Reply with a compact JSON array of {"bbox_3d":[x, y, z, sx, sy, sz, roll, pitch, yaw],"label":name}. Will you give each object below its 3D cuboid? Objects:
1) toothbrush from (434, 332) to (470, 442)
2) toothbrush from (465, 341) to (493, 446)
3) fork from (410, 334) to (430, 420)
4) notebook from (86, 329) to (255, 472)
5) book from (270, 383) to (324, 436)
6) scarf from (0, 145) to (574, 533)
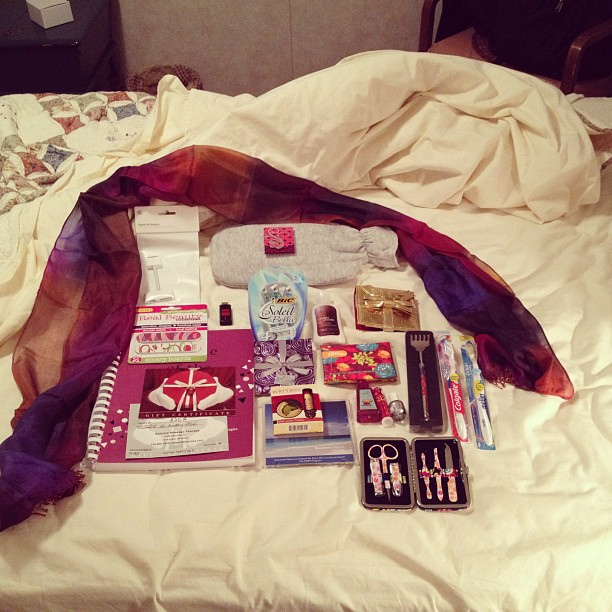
[{"bbox_3d":[0.358,0.195,1.425,0.042,0.011,0.228,-4,55,-1],"label":"toothbrush"},{"bbox_3d":[0.414,0.213,1.430,0.032,0.022,0.196,7,50,-22],"label":"toothbrush"},{"bbox_3d":[0.284,0.163,1.422,0.047,0.015,0.183,2,49,6],"label":"fork"},{"bbox_3d":[-0.316,0.212,1.416,0.377,0.073,0.388,-2,57,-3],"label":"notebook"},{"bbox_3d":[-0.023,0.243,1.372,0.112,0.017,0.123,-3,57,-4],"label":"book"},{"bbox_3d":[-0.155,-0.074,1.601,1.344,0.165,1.076,-13,58,-10],"label":"scarf"}]
